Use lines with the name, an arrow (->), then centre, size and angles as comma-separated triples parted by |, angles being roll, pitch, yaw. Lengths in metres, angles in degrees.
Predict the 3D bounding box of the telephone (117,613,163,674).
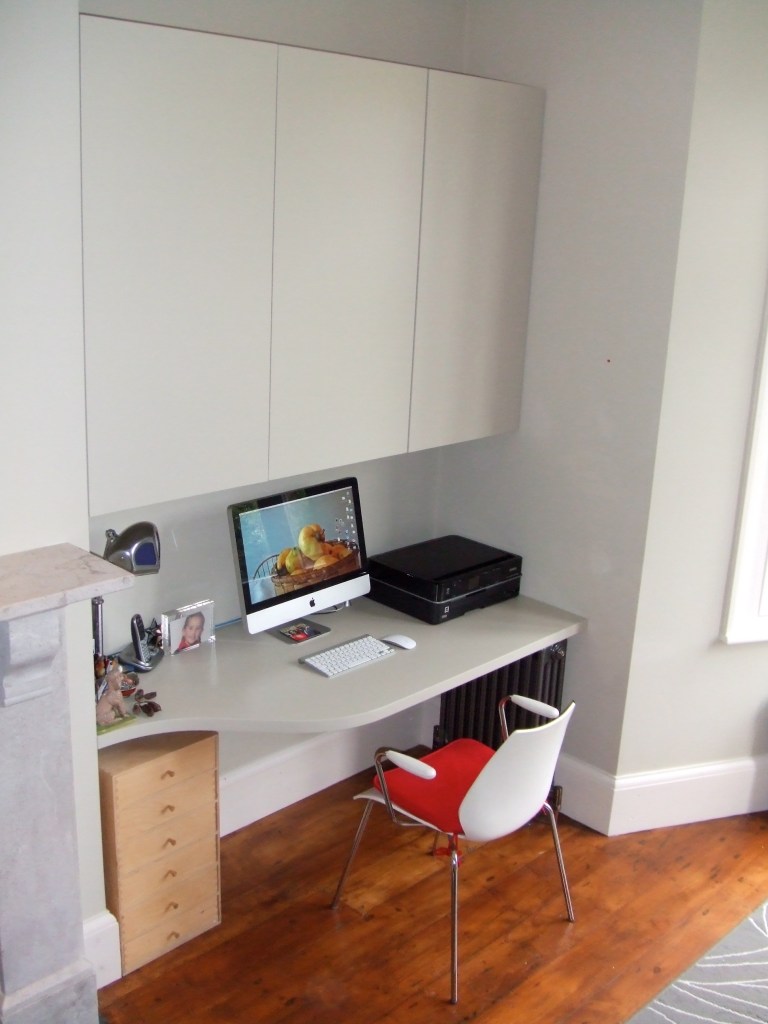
telephone -> -0.686, 0.373, 2.289 | 0.096, 0.111, 0.095 | 27, 30, 19

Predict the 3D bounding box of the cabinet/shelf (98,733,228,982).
cabinet/shelf -> -0.592, 0.849, 2.193 | 0.256, 0.459, 0.152 | -2, 5, -26

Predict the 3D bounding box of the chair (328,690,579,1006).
chair -> 0.217, 0.819, 2.292 | 0.506, 0.780, 0.532 | -10, 19, -40

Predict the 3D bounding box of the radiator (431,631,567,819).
radiator -> 0.390, 0.695, 2.995 | 0.173, 0.733, 0.517 | -6, 0, -42

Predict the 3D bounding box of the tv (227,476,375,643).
tv -> -0.271, 0.148, 2.521 | 0.049, 0.379, 0.434 | 8, 19, 40
